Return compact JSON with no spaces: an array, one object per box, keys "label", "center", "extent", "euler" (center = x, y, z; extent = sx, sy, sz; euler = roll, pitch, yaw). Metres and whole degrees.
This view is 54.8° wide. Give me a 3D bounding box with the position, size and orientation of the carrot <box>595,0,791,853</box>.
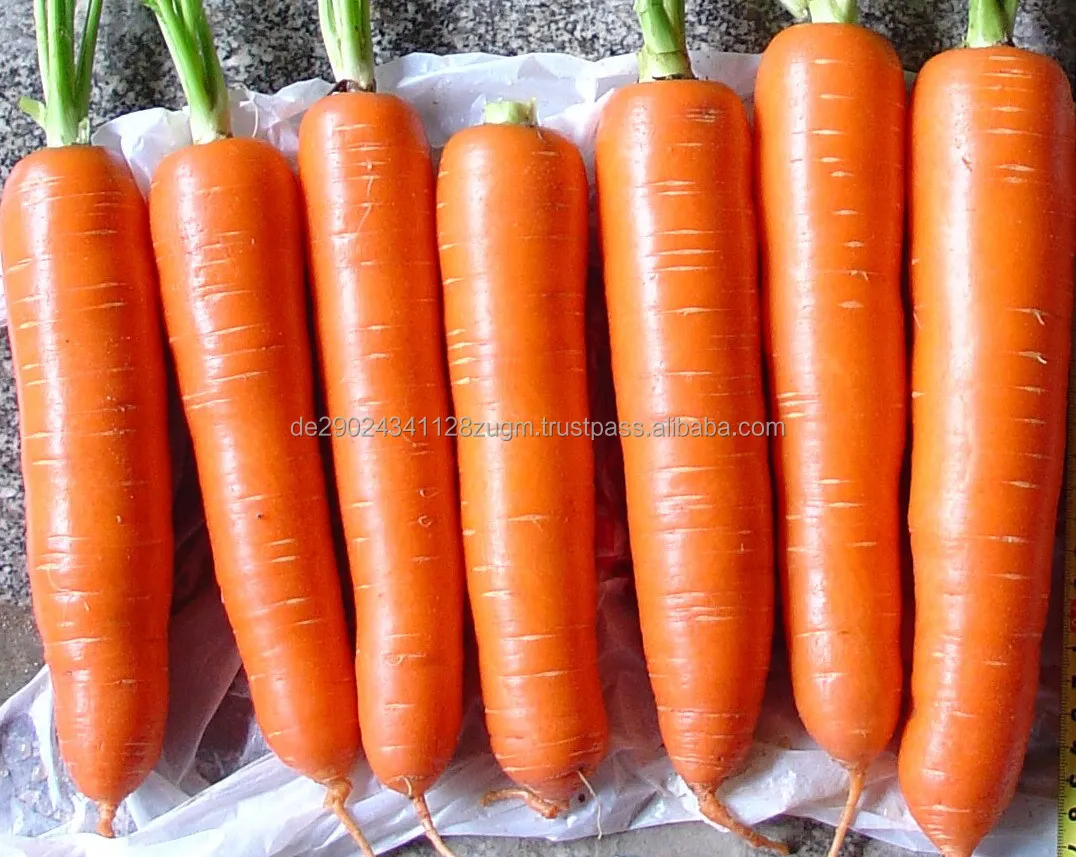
[{"label":"carrot","center":[0.174,-0.031,1.158],"extent":[0.133,1.014,0.174],"euler":[-3,7,14]}]
